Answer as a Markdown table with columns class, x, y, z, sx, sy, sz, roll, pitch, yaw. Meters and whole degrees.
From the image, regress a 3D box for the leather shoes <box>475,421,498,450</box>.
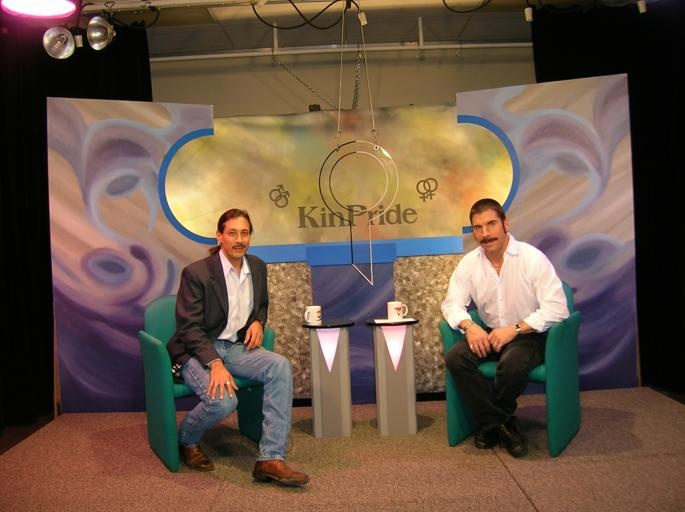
| class | x | y | z | sx | sy | sz | roll | pitch | yaw |
| --- | --- | --- | --- | --- | --- | --- | --- | --- | --- |
| leather shoes | 0.939 | 1.197 | 3.780 | 0.101 | 0.125 | 0.191 | 0 | -14 | 7 |

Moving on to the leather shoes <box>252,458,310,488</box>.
| class | x | y | z | sx | sy | sz | roll | pitch | yaw |
| --- | --- | --- | --- | --- | --- | --- | --- | --- | --- |
| leather shoes | -0.374 | 1.286 | 3.507 | 0.366 | 0.219 | 0.140 | -2 | -5 | 15 |

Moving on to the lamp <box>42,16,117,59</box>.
| class | x | y | z | sx | sy | sz | roll | pitch | yaw |
| --- | --- | --- | --- | --- | --- | --- | --- | --- | --- |
| lamp | -2.119 | -1.732 | 4.702 | 0.465 | 0.344 | 0.941 | -6 | 10 | -19 |

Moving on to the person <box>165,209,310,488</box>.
| class | x | y | z | sx | sy | sz | roll | pitch | yaw |
| --- | --- | --- | --- | --- | --- | --- | --- | --- | --- |
| person | -0.678 | 0.513 | 3.742 | 0.855 | 1.590 | 0.667 | 1 | 10 | 21 |

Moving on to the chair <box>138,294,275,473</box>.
| class | x | y | z | sx | sy | sz | roll | pitch | yaw |
| --- | --- | --- | --- | --- | --- | --- | --- | --- | --- |
| chair | -0.976 | 0.826 | 3.985 | 0.783 | 1.083 | 0.633 | -2 | -2 | -40 |

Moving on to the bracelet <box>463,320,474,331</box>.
| class | x | y | z | sx | sy | sz | roll | pitch | yaw |
| --- | --- | --- | --- | --- | --- | --- | --- | --- | --- |
| bracelet | 0.838 | 0.454 | 3.849 | 0.018 | 0.066 | 0.062 | 26 | -5 | -30 |

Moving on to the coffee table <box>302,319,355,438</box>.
| class | x | y | z | sx | sy | sz | roll | pitch | yaw |
| --- | --- | --- | --- | --- | --- | --- | --- | --- | --- |
| coffee table | -0.094 | 0.873 | 4.127 | 0.359 | 0.781 | 0.234 | -2 | 9 | 0 |

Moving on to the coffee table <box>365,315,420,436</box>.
| class | x | y | z | sx | sy | sz | roll | pitch | yaw |
| --- | --- | --- | --- | --- | --- | --- | --- | --- | --- |
| coffee table | 0.365 | 0.871 | 4.072 | 0.261 | 0.745 | 0.166 | -2 | 9 | -1 |

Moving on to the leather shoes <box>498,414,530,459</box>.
| class | x | y | z | sx | sy | sz | roll | pitch | yaw |
| --- | --- | --- | --- | --- | --- | --- | --- | --- | --- |
| leather shoes | 1.096 | 1.161 | 3.727 | 0.102 | 0.121 | 0.283 | -34 | 7 | 7 |

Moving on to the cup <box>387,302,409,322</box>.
| class | x | y | z | sx | sy | sz | roll | pitch | yaw |
| --- | --- | --- | --- | --- | --- | --- | --- | --- | --- |
| cup | 0.411 | 0.414 | 4.242 | 0.162 | 0.154 | 0.102 | 6 | -10 | -21 |

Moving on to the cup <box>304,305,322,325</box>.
| class | x | y | z | sx | sy | sz | roll | pitch | yaw |
| --- | --- | --- | --- | --- | --- | --- | --- | --- | --- |
| cup | -0.206 | 0.436 | 4.251 | 0.086 | 0.118 | 0.140 | 1 | 3 | 39 |

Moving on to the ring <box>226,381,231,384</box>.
| class | x | y | z | sx | sy | sz | roll | pitch | yaw |
| --- | --- | --- | --- | --- | --- | --- | --- | --- | --- |
| ring | -0.697 | 0.762 | 3.490 | 0.019 | 0.022 | 0.005 | 3 | 0 | -1 |

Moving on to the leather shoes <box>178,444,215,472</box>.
| class | x | y | z | sx | sy | sz | roll | pitch | yaw |
| --- | --- | --- | --- | --- | --- | --- | --- | --- | --- |
| leather shoes | -0.939 | 1.275 | 3.661 | 0.272 | 0.137 | 0.102 | -3 | -6 | 38 |

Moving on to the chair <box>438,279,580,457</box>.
| class | x | y | z | sx | sy | sz | roll | pitch | yaw |
| --- | --- | --- | --- | --- | --- | --- | --- | --- | --- |
| chair | 1.176 | 0.691 | 3.969 | 0.827 | 1.094 | 0.921 | -2 | 2 | 8 |
